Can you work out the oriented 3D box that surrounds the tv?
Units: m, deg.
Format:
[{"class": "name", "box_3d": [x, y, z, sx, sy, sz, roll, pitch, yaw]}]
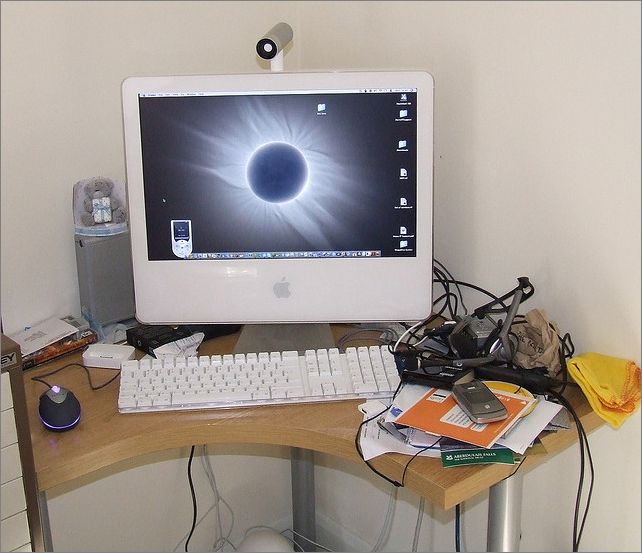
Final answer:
[{"class": "tv", "box_3d": [-0.083, -0.145, 1.231, 0.521, 0.541, 0.183, -1, 16, -2]}]

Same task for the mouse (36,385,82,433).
[{"class": "mouse", "box_3d": [-0.478, 0.235, 1.091, 0.069, 0.030, 0.097, -1, 36, -35]}]

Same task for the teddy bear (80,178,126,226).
[{"class": "teddy bear", "box_3d": [-0.513, -0.172, 1.405, 0.088, 0.103, 0.054, -9, 10, -28]}]

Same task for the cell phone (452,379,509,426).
[{"class": "cell phone", "box_3d": [0.273, 0.216, 1.028, 0.065, 0.041, 0.094, -7, 10, -14]}]

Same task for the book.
[{"class": "book", "box_3d": [-0.596, 0.134, 1.339, 0.121, 0.049, 0.172, 24, 33, 35]}]
